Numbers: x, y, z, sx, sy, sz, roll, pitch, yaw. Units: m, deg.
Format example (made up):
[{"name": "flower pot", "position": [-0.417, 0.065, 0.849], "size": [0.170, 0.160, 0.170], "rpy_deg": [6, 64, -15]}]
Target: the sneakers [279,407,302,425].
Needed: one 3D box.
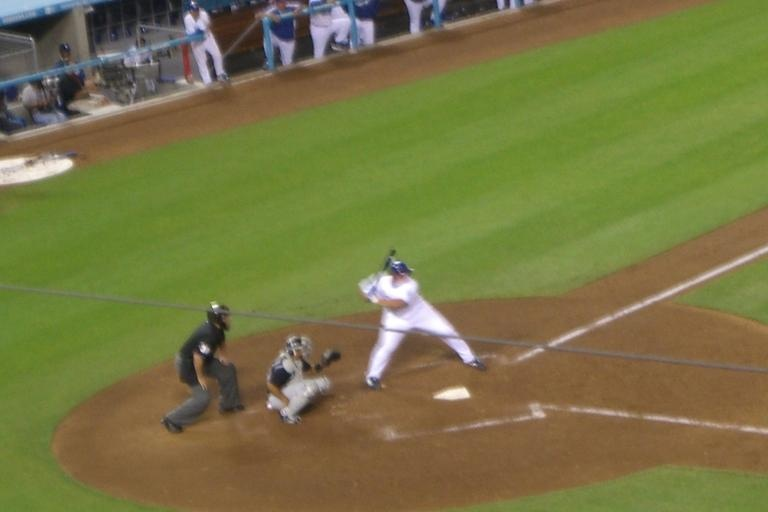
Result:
[{"name": "sneakers", "position": [-1.577, 2.564, 24.540], "size": [0.310, 0.217, 0.122], "rpy_deg": [10, 41, 5]}]

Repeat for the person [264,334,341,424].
[{"name": "person", "position": [-1.388, 2.013, 24.690], "size": [1.431, 1.508, 0.808], "rpy_deg": [-4, 12, -9]}]

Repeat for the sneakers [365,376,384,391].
[{"name": "sneakers", "position": [-0.194, 2.072, 25.033], "size": [0.192, 0.098, 0.252], "rpy_deg": [15, -9, -37]}]

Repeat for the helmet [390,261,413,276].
[{"name": "helmet", "position": [0.261, 0.134, 24.682], "size": [0.308, 0.150, 0.228], "rpy_deg": [22, 13, -8]}]
